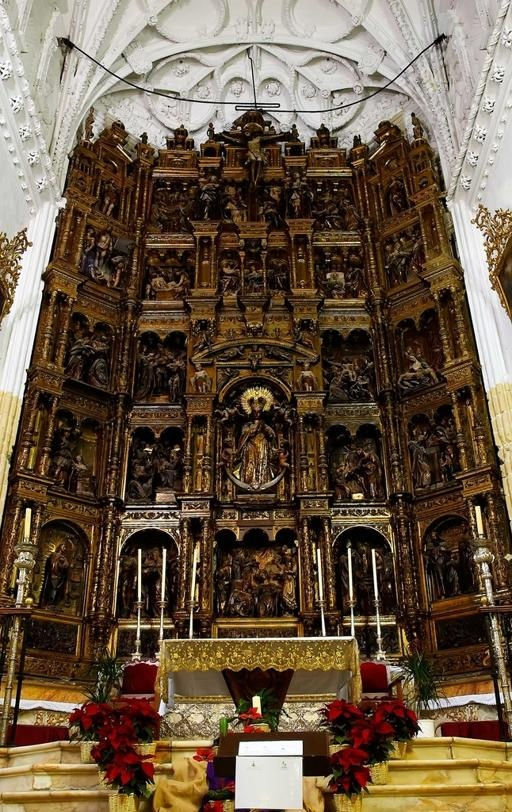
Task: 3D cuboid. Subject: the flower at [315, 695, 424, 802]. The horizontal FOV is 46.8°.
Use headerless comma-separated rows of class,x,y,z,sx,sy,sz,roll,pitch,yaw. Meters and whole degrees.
flower,0.633,1.986,3.470,0.489,0.461,0.932,-10,-27,21
